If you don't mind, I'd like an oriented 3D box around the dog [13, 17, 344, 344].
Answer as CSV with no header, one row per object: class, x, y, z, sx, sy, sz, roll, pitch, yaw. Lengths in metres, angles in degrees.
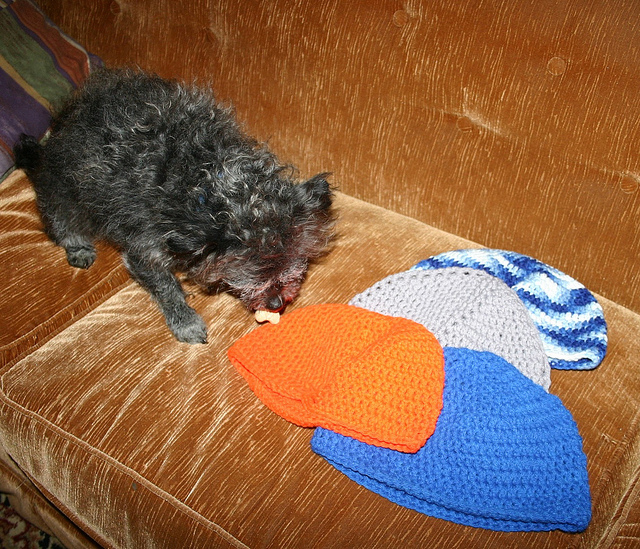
dog,-0.626,-0.301,2.190,1.407,0.678,0.591,34,48,14
